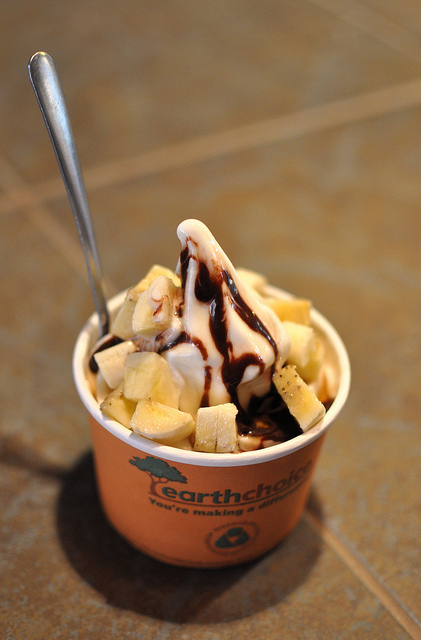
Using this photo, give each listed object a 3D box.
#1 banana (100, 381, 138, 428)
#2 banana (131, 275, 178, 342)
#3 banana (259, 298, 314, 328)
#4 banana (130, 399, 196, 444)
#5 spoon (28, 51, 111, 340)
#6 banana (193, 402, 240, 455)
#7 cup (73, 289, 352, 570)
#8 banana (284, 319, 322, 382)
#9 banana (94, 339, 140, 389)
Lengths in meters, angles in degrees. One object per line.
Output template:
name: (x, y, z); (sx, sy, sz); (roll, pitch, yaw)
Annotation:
banana: (-0.123, 0.117, 0.864); (0.049, 0.016, 0.051); (51, 32, 17)
banana: (-0.082, -0.027, 0.914); (0.044, 0.052, 0.100); (-3, 8, 18)
banana: (0.130, -0.016, 1.068); (0.062, 0.039, 0.078); (-12, 36, -19)
banana: (-0.064, 0.137, 0.835); (0.072, 0.037, 0.048); (8, 35, 8)
spoon: (-0.163, -0.145, 0.967); (0.062, 0.519, 0.067); (16, 36, 37)
banana: (0.007, 0.143, 0.843); (0.063, 0.058, 0.056); (6, 67, 11)
cup: (-0.005, 0.201, 1.043); (0.359, 0.249, 0.365); (3, 26, -2)
banana: (0.140, 0.049, 1.032); (0.084, 0.095, 0.086); (-7, 2, 6)
banana: (-0.137, 0.066, 0.947); (0.074, 0.019, 0.063); (-29, 83, -20)
